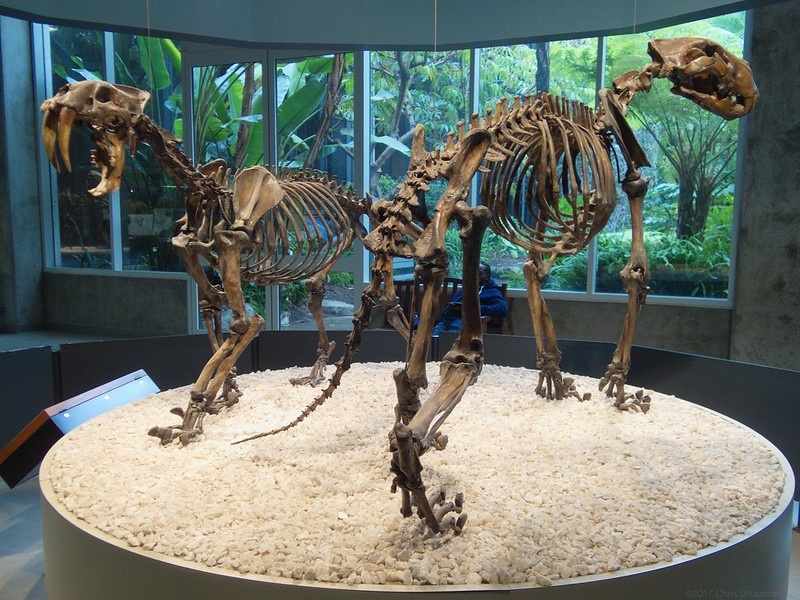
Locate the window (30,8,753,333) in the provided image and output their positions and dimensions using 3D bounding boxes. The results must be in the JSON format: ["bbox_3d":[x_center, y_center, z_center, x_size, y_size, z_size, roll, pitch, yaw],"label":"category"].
[{"bbox_3d":[0.367,-0.375,4.984,5.224,2.273,1.387,-13,12,2],"label":"window"}]
